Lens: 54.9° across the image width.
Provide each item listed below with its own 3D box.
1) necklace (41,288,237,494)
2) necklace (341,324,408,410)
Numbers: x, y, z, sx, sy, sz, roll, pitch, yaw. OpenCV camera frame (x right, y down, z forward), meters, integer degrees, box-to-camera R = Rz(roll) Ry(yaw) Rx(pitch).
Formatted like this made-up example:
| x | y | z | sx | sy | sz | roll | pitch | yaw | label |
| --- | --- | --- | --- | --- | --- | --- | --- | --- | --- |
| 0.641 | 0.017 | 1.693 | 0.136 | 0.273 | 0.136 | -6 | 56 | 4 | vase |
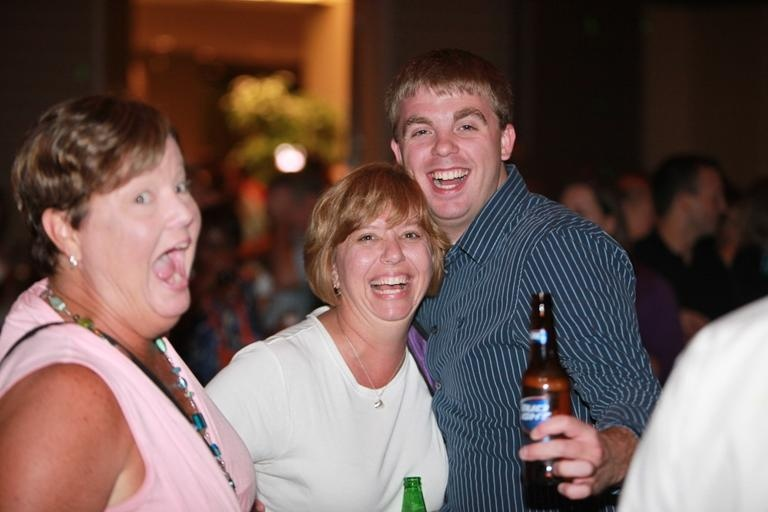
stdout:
| x | y | z | sx | sy | sz | roll | pitch | yaw | label |
| --- | --- | --- | --- | --- | --- | --- | --- | --- | --- |
| -0.813 | 0.524 | 2.899 | 0.384 | 0.057 | 1.132 | 12 | 30 | -44 | necklace |
| -0.118 | 0.489 | 3.452 | 0.097 | 0.350 | 0.029 | -22 | -3 | -9 | necklace |
